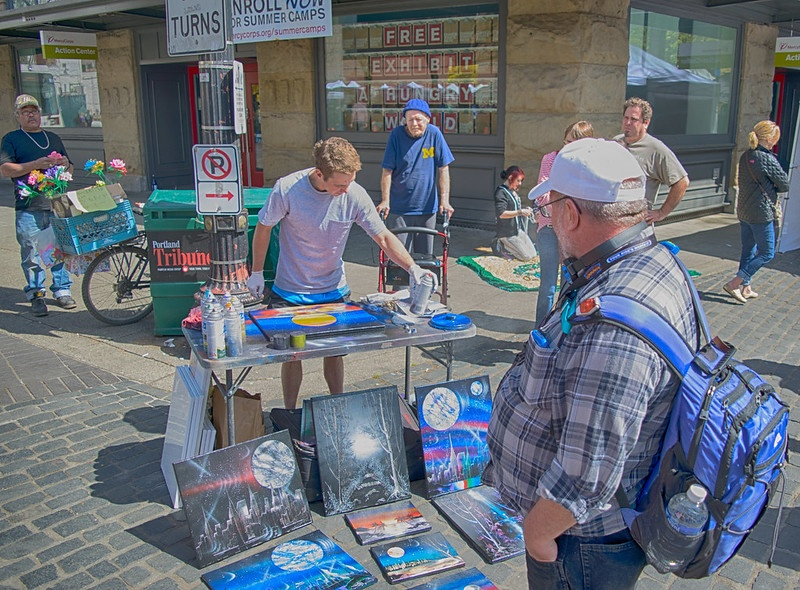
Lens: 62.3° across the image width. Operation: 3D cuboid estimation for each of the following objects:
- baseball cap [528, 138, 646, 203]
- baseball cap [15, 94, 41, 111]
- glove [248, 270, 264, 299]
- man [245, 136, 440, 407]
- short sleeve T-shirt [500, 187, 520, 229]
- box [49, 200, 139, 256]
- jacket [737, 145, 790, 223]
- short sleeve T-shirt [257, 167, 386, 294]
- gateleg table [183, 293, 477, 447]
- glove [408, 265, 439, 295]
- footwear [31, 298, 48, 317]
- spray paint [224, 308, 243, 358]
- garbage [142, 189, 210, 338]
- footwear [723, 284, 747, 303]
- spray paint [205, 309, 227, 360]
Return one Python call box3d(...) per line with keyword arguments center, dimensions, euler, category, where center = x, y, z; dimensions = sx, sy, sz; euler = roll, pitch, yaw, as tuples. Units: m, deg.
box3d(center=(0.723, -0.457, 2.574), dimensions=(0.238, 0.189, 0.339), euler=(-17, 37, -34), category="baseball cap")
box3d(center=(-4.378, -2.275, 7.810), dimensions=(0.188, 0.156, 0.297), euler=(-4, 15, -7), category="baseball cap")
box3d(center=(-1.057, -0.082, 4.988), dimensions=(0.069, 0.189, 0.133), euler=(4, -3, -34), category="glove")
box3d(center=(-0.367, 0.026, 5.042), dimensions=(1.479, 2.389, 0.681), euler=(9, 17, 19), category="man")
box3d(center=(1.592, -1.276, 9.721), dimensions=(0.244, 0.429, 0.476), euler=(-6, -25, 8), category="short sleeve T-shirt")
box3d(center=(-3.392, -0.771, 7.505), dimensions=(0.819, 0.434, 0.671), euler=(-21, 19, -32), category="box")
box3d(center=(4.733, -1.482, 8.707), dimensions=(0.511, 0.959, 0.704), euler=(-3, 16, 4), category="jacket")
box3d(center=(-0.602, -0.463, 4.998), dimensions=(0.872, 0.961, 0.353), euler=(-5, 15, -11), category="short sleeve T-shirt")
box3d(center=(-0.504, 0.568, 4.798), dimensions=(1.886, 0.855, 1.040), euler=(-6, 19, -24), category="gateleg table")
box3d(center=(0.171, -0.108, 4.884), dimensions=(0.196, 0.219, 0.253), euler=(-2, 15, -1), category="glove")
box3d(center=(-4.301, 0.161, 7.947), dimensions=(0.120, 0.141, 0.324), euler=(-6, 14, -39), category="footwear")
box3d(center=(-0.999, 0.231, 4.061), dimensions=(0.128, 0.280, 0.113), euler=(-14, 19, -38), category="spray paint")
box3d(center=(-2.528, -0.317, 7.460), dimensions=(1.042, 1.490, 1.062), euler=(1, 6, -4), category="garbage")
box3d(center=(4.374, -0.015, 8.655), dimensions=(0.082, 0.224, 0.099), euler=(-39, -7, -45), category="footwear")
box3d(center=(-1.111, 0.240, 4.018), dimensions=(0.113, 0.293, 0.102), euler=(-6, 15, -16), category="spray paint")
